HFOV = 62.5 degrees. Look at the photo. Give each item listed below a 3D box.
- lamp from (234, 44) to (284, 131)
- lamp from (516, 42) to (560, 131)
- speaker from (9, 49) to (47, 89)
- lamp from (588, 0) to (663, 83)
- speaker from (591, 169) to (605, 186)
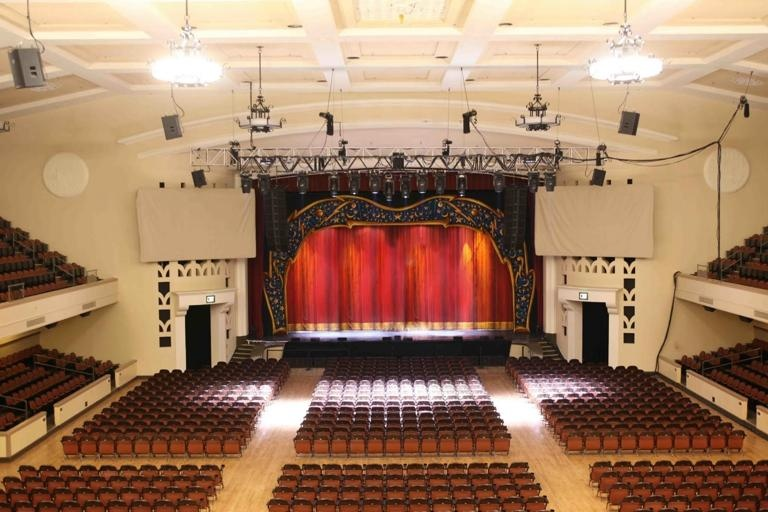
[{"bbox_3d":[-3.978,-4.631,20.436,1.351,2.261,5.408,1,-5,-12],"label":"lamp"},{"bbox_3d":[4.956,-4.639,20.315,1.290,2.414,5.535,-1,-4,14],"label":"lamp"},{"bbox_3d":[-8.041,-4.219,14.265,0.856,1.094,0.763,-9,11,-35],"label":"speaker"},{"bbox_3d":[5.047,-4.274,13.319,1.334,1.022,0.843,-1,-4,11],"label":"lamp"},{"bbox_3d":[7.972,-2.976,23.541,0.385,0.613,0.527,0,-4,9],"label":"speaker"}]
